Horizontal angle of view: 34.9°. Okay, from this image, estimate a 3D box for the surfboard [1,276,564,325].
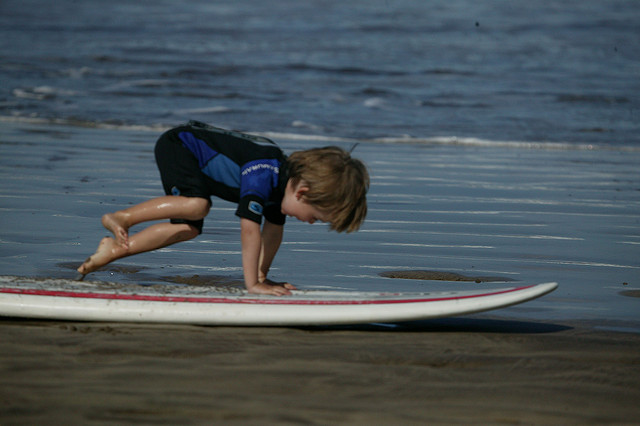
[{"bbox_3d":[-0.505,0.919,10.530,5.646,0.645,0.212,0,88,-1],"label":"surfboard"}]
